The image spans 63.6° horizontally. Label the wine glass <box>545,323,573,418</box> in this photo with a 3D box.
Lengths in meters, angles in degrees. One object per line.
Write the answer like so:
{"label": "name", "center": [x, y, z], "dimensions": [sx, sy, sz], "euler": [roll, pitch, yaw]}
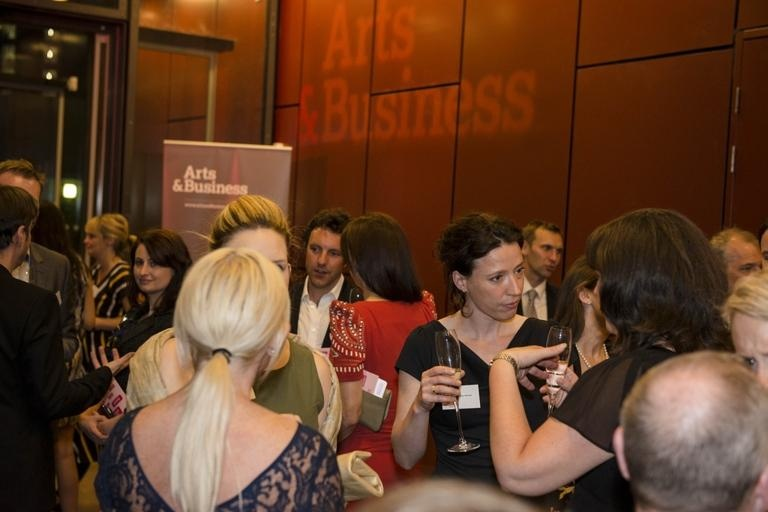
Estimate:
{"label": "wine glass", "center": [0.800, 0.539, 2.849], "dimensions": [0.101, 0.423, 0.245], "euler": [3, 5, 15]}

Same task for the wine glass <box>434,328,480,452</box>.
{"label": "wine glass", "center": [0.343, 0.654, 2.912], "dimensions": [0.212, 0.595, 0.166], "euler": [-2, 6, -39]}

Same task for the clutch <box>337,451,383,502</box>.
{"label": "clutch", "center": [-0.096, 0.918, 2.524], "dimensions": [0.177, 0.264, 0.250], "euler": [2, 5, -2]}

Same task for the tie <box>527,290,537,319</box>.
{"label": "tie", "center": [1.275, 0.425, 5.326], "dimensions": [0.037, 0.235, 0.038], "euler": [2, -31, 6]}
